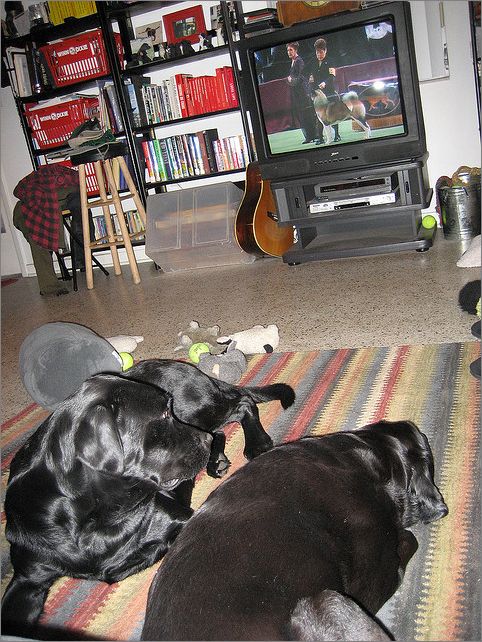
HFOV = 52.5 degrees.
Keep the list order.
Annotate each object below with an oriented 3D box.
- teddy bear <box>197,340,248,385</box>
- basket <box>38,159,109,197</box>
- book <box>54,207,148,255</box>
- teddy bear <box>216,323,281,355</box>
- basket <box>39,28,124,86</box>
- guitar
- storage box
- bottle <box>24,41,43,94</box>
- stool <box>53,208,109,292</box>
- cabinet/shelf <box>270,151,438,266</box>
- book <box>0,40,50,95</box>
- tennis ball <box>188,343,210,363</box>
[{"bbox_3d":[-0.049,0.120,1.442,0.096,0.048,0.118,-20,25,-31],"label":"teddy bear"},{"bbox_3d":[-1.285,-1.134,3.881,0.476,0.291,0.311,-2,31,-3],"label":"basket"},{"bbox_3d":[-1.028,-0.670,3.622,0.304,0.436,0.377,-17,19,-4],"label":"book"},{"bbox_3d":[0.026,0.069,1.655,0.158,0.066,0.114,-9,20,2],"label":"teddy bear"},{"bbox_3d":[-1.201,-1.960,3.758,0.611,0.324,0.402,-13,32,11],"label":"basket"},{"bbox_3d":[0.139,-0.655,2.875,0.116,0.800,0.356,-1,26,26],"label":"guitar"},{"bbox_3d":[-0.228,-0.621,3.365,0.730,0.656,0.575,-2,20,21],"label":"storage box"},{"bbox_3d":[-1.591,-1.958,3.779,0.087,0.336,0.247,-8,20,-1],"label":"bottle"},{"bbox_3d":[-1.226,-0.573,3.839,0.501,0.604,0.446,-5,18,0],"label":"stool"},{"bbox_3d":[0.661,-0.678,2.774,0.918,0.540,0.617,-5,23,27],"label":"cabinet/shelf"},{"bbox_3d":[-1.652,-1.930,3.814,0.409,0.404,0.109,-9,13,4],"label":"book"},{"bbox_3d":[-0.128,0.099,1.607,0.067,0.067,0.077,-4,46,-2],"label":"tennis ball"}]
